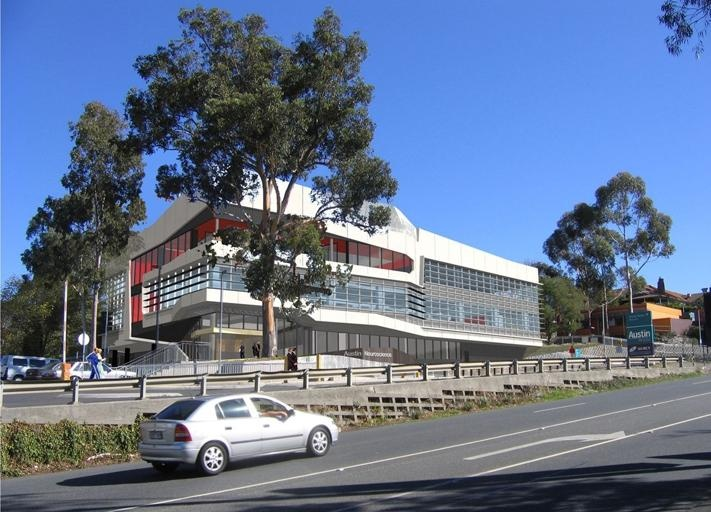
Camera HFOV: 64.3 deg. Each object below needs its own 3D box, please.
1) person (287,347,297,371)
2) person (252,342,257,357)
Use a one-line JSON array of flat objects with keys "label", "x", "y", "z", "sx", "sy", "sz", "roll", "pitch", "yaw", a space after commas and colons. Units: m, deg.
[{"label": "person", "x": -3.883, "y": 6.285, "z": 34.773, "sx": 0.476, "sy": 1.385, "sz": 2.114, "roll": 2, "pitch": -15, "yaw": -9}, {"label": "person", "x": -8.502, "y": 7.951, "z": 47.994, "sx": 0.314, "sy": 1.054, "sz": 1.235, "roll": 1, "pitch": -14, "yaw": -6}]
